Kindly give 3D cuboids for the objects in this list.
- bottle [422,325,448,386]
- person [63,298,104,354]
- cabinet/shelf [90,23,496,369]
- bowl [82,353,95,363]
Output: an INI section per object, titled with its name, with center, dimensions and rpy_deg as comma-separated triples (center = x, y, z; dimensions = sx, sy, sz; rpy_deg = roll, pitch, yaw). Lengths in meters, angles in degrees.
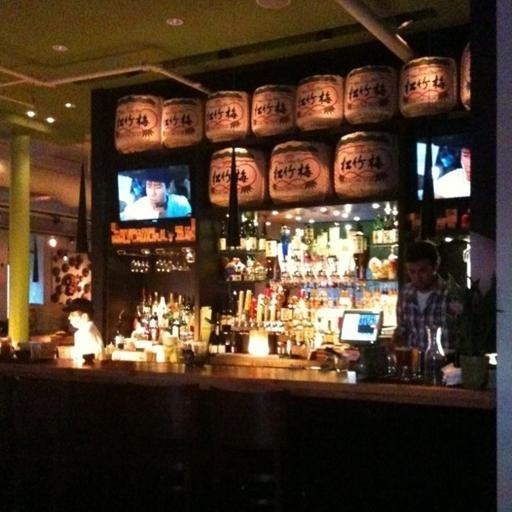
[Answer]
[bottle]
center = 0.908, 0.497, 3.008
dimensions = 0.110, 0.274, 0.252
rpy_deg = -2, -4, 17
[person]
center = -1.451, 0.599, 4.943
dimensions = 0.326, 0.493, 1.499
rpy_deg = 0, -5, -15
[cabinet/shelf]
center = 0.355, -0.552, 4.925
dimensions = 2.730, 2.665, 0.828
rpy_deg = 1, 2, 22
[bowl]
center = -1.136, 0.698, 4.055
dimensions = 0.062, 0.047, 0.062
rpy_deg = 0, -7, 0
